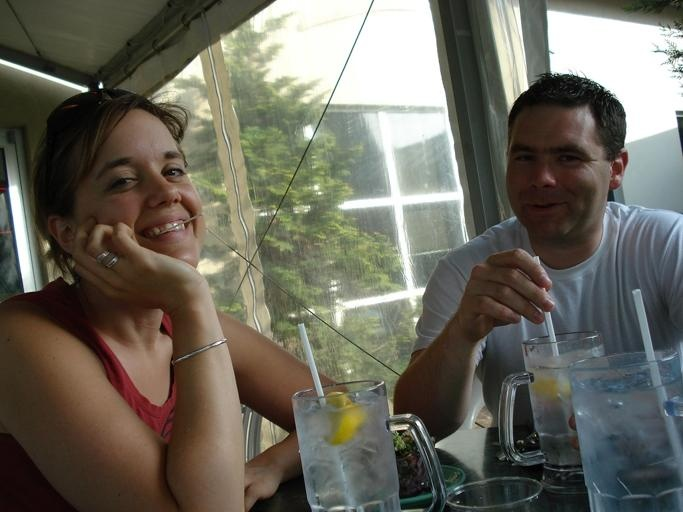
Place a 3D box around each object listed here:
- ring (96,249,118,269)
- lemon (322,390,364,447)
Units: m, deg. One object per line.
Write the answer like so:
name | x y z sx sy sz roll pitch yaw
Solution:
ring | -0.594 0.009 1.313 0.042 0.045 0.017 37 6 3
lemon | 0.004 0.281 0.888 0.066 0.080 0.051 5 37 -5
